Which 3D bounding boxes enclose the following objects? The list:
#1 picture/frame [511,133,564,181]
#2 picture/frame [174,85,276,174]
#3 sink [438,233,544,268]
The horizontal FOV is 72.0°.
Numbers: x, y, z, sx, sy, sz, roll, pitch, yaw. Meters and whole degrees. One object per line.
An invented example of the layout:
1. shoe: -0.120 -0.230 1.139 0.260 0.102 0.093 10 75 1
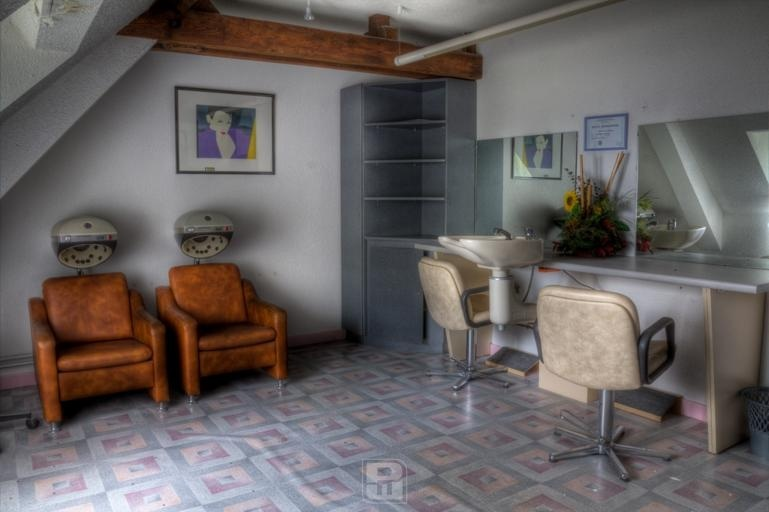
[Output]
1. picture/frame: 1.677 -1.098 5.827 0.678 0.504 0.016 -4 7 -23
2. picture/frame: -1.856 -1.431 5.972 1.243 0.912 0.042 -1 2 -29
3. sink: 1.088 0.036 5.122 0.847 0.240 0.718 0 -7 -14
